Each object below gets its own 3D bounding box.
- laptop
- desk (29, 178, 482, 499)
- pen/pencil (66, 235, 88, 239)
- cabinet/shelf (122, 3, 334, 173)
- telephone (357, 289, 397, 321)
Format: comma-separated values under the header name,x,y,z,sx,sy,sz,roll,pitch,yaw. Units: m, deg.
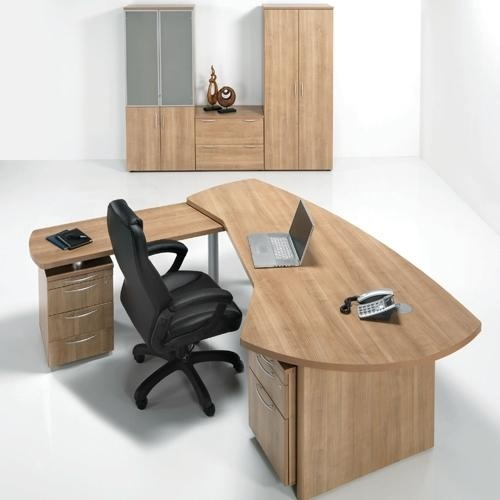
name,x,y,z,sx,sy,sz,roll,pitch,yaw
laptop,0.173,-0.048,2.565,0.277,0.316,0.444,5,32,-9
desk,0.002,0.241,2.677,1.747,1.135,2.327,-13,20,-34
pen/pencil,-1.009,-0.075,2.915,0.089,0.019,0.016,2,31,-8
cabinet/shelf,-0.300,-2.233,6.971,2.757,1.915,0.813,0,12,-2
telephone,0.490,0.218,1.938,0.134,0.045,0.115,-12,33,7
